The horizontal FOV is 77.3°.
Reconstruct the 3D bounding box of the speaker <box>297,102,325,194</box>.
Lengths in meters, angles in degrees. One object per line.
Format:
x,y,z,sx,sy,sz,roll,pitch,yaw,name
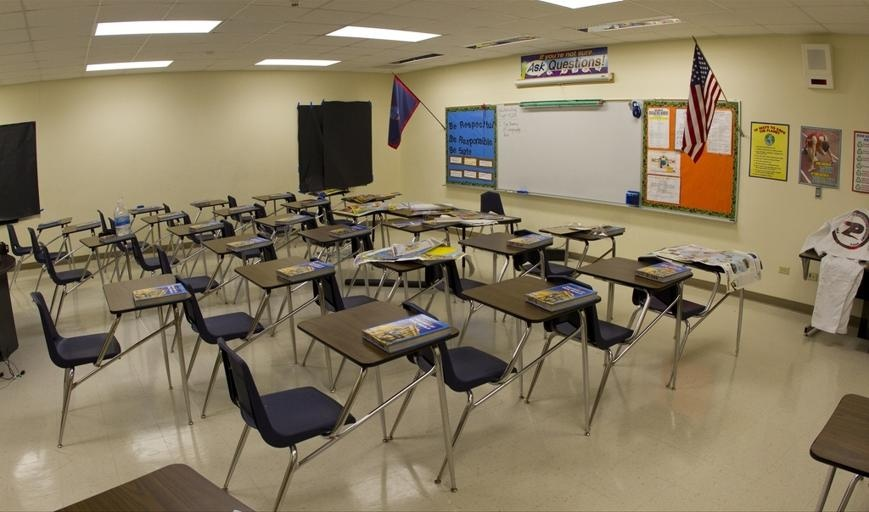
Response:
-2.106,-1.775,9.068,0.383,1.408,0.497,4,17,28,speaker

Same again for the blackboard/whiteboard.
2.344,-1.724,9.041,2.261,1.183,0.037,8,12,43,blackboard/whiteboard

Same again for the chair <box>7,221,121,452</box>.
-4.513,0.978,6.584,1.268,2.626,1.255,-7,38,-31,chair

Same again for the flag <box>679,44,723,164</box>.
3.267,-1.869,6.670,0.348,1.396,0.413,8,19,39,flag

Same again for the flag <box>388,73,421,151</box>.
-0.517,-2.312,8.754,0.540,1.080,0.596,-5,14,-4,flag

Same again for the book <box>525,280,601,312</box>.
1.177,0.383,5.056,0.637,0.124,0.381,-9,14,-26,book
